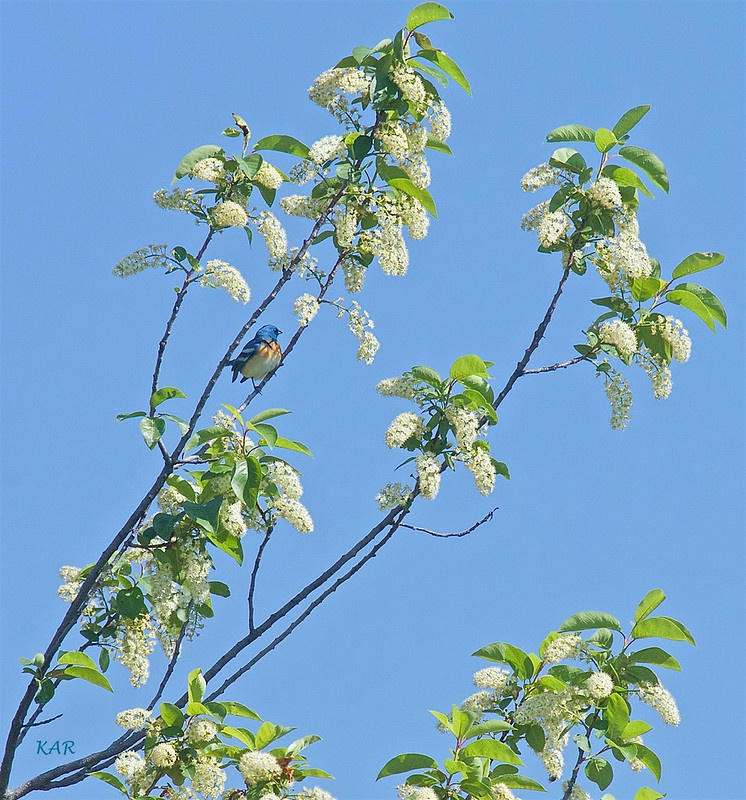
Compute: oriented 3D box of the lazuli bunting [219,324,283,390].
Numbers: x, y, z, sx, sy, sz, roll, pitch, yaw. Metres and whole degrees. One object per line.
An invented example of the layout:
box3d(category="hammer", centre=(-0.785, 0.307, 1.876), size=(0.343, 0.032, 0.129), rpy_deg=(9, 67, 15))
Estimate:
box3d(category="lazuli bunting", centre=(-1.060, -0.372, 14.115), size=(0.593, 0.546, 0.339), rpy_deg=(0, -6, 33))
